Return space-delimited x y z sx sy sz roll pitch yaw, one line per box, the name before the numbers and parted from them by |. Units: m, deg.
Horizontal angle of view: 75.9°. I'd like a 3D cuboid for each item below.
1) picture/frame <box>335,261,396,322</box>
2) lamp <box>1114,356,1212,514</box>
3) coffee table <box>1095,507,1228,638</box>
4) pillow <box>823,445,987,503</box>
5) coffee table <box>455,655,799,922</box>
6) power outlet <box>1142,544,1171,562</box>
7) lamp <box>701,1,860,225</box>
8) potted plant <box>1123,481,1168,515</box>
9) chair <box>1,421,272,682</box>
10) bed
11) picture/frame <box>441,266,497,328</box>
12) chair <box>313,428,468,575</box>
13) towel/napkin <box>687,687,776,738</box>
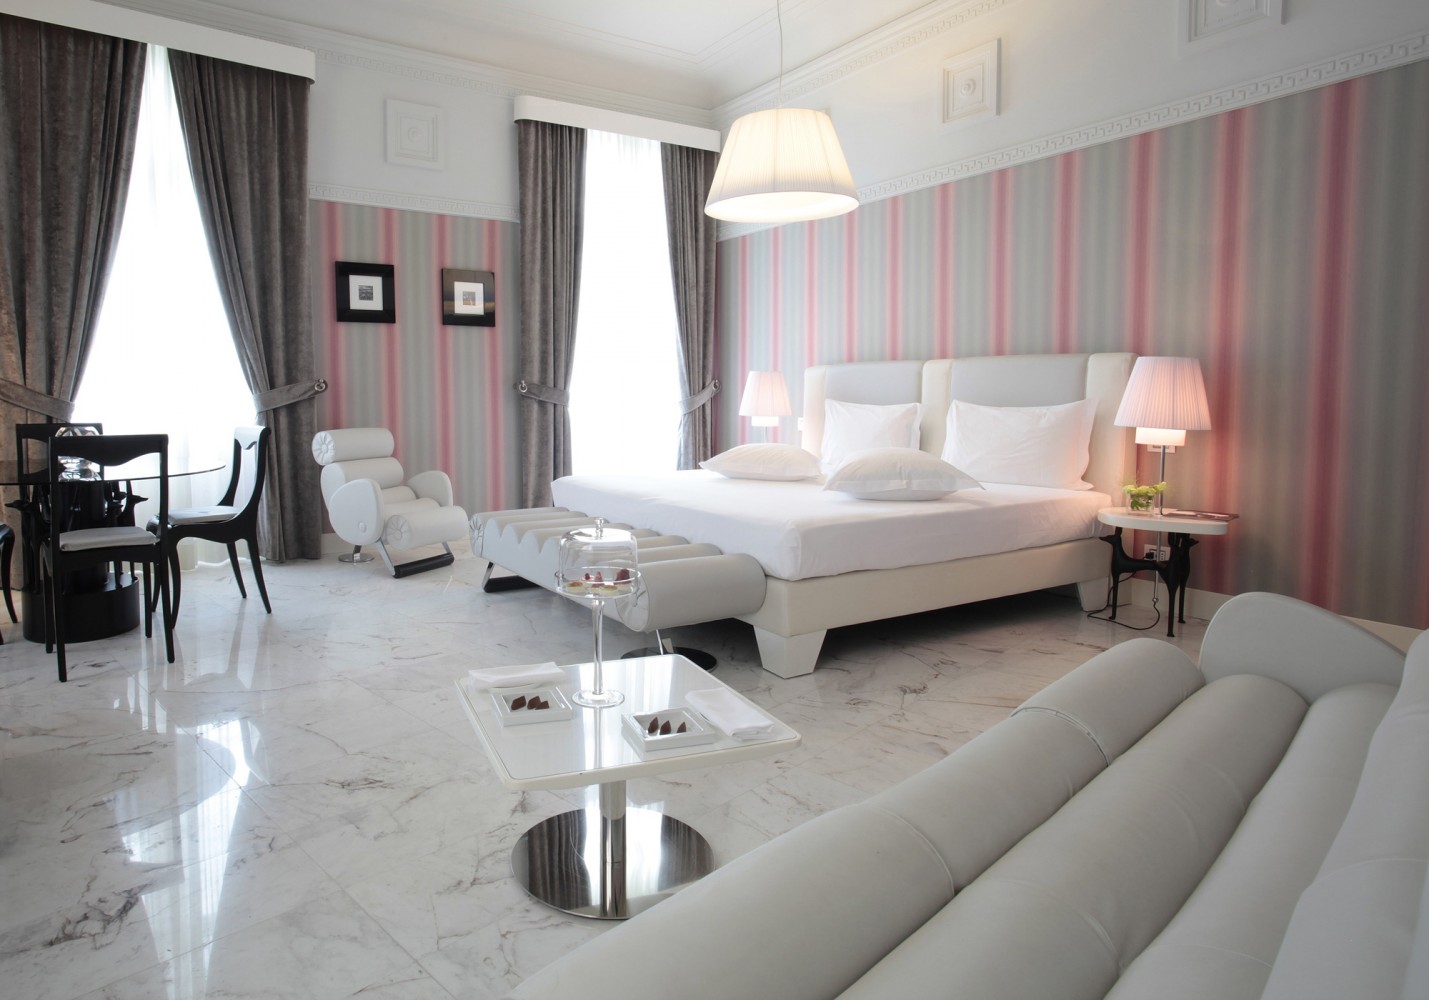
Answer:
picture/frame | -2.336 -1.385 6.081 0.434 0.431 0.028 0 3 -38
lamp | 2.187 -0.323 4.457 0.411 0.755 0.484 3 9 28
coffee table | 2.150 0.316 4.452 0.618 0.548 0.623 1 3 24
pillow | 0.899 -0.117 4.377 0.695 0.242 0.232 -1 7 6
coffee table | -0.295 0.685 2.391 0.731 0.443 0.726 -5 12 -30
power outlet | 2.130 0.251 4.405 0.104 0.072 0.071 4 -6 -43
lamp | 0.366 -1.824 4.626 0.739 1.204 0.677 -3 8 -5
potted plant | 2.109 -0.014 4.463 0.180 0.132 0.181 -8 9 -44
chair | -2.532 0.118 4.189 1.293 0.956 1.067 3 5 43
bed | 0.847 0.088 4.737 2.012 1.226 2.248 -1 3 -31
picture/frame | -1.749 -1.436 6.453 0.452 0.433 0.044 -3 8 -35
chair | -2.011 -0.017 5.893 1.059 1.007 0.799 7 11 33
towel/napkin | 0.040 0.524 2.283 0.099 0.029 0.159 -4 9 -23
